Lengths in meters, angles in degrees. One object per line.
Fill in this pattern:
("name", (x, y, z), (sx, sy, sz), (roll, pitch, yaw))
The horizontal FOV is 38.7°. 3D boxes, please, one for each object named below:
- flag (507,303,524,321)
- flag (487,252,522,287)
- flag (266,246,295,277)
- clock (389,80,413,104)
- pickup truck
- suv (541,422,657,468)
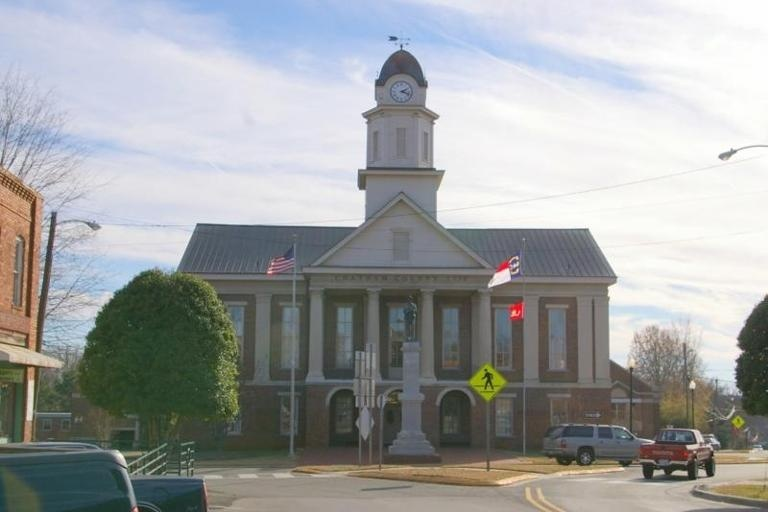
("flag", (7.993, 3.347, 66.260), (0.151, 0.897, 1.045), (24, -32, -17))
("flag", (7.145, 0.892, 64.697), (2.229, 2.364, 0.342), (2, -11, 36))
("flag", (-6.301, 0.391, 66.072), (1.839, 1.968, 0.246), (6, -6, 12))
("clock", (1.154, -10.674, 71.618), (1.638, 1.577, 0.142), (1, -6, -1))
("pickup truck", (14.398, 9.664, 53.575), (4.126, 2.500, 1.892), (11, -17, -42))
("suv", (11.335, 10.099, 59.329), (4.902, 1.663, 2.436), (-1, -4, -10))
